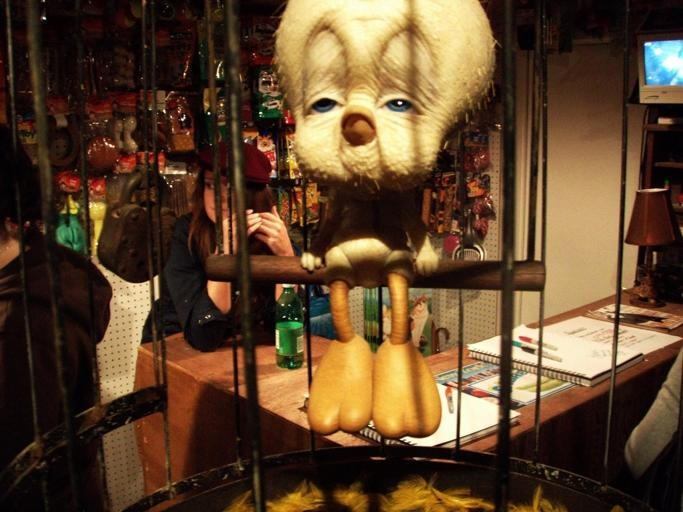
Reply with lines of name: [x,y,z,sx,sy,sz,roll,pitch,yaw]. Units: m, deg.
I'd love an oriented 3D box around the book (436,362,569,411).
book: [0.409,0.328,1.652,0.221,0.009,0.232,-6,11,-41]

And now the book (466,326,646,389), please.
book: [0.611,0.289,1.859,0.250,0.032,0.280,9,15,43]
